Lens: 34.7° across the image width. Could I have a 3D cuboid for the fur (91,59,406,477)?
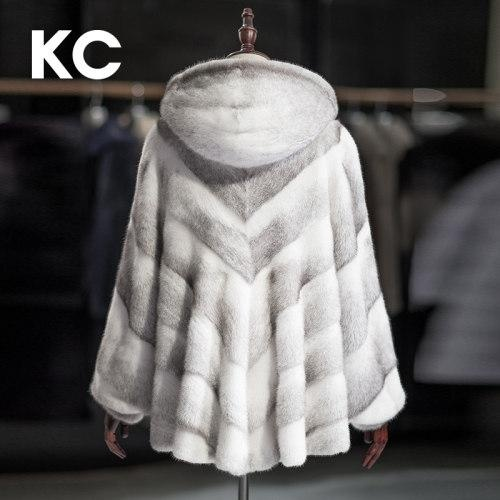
[{"bbox_3d":[-0.040,0.042,2.275,0.894,1.148,0.456,-4,17,-6],"label":"fur"}]
